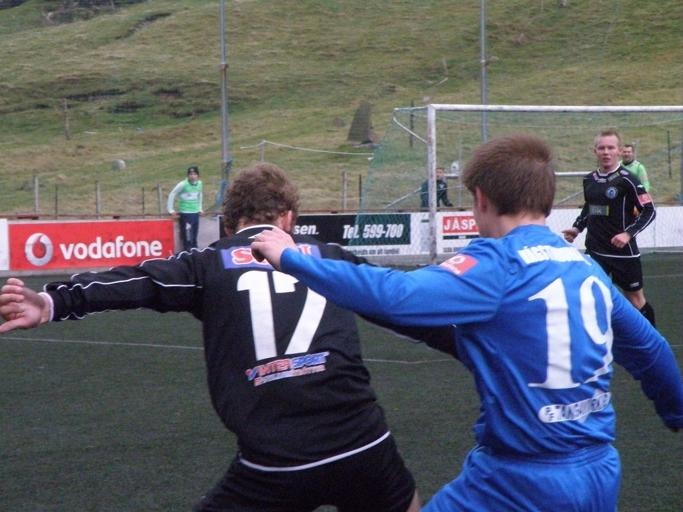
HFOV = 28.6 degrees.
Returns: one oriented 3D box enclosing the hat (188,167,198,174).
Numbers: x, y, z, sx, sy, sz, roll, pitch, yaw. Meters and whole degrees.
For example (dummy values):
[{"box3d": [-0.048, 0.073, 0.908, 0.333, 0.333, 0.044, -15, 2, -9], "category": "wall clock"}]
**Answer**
[{"box3d": [-5.463, -3.153, 49.106, 0.305, 0.296, 0.336, -1, 12, -6], "category": "hat"}]
